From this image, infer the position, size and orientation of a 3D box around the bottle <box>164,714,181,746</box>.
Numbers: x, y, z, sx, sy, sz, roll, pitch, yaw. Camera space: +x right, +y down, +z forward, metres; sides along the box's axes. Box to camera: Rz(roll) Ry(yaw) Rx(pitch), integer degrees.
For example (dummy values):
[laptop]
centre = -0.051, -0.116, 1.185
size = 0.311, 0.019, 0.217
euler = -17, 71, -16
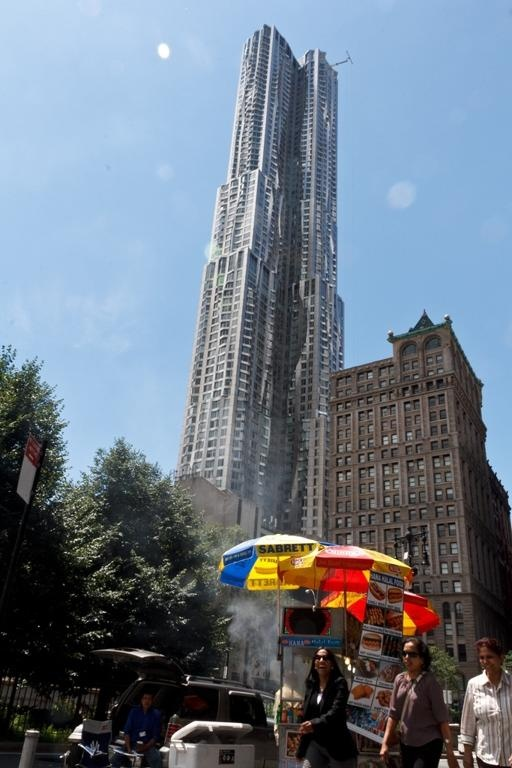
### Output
[bottle]
centre = -1.107, 4.654, 8.287
size = 0.173, 0.137, 0.576
euler = -4, 14, -6

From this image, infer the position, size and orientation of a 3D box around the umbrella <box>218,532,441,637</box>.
[umbrella]
centre = 1.069, 3.774, 11.268
size = 3.602, 1.581, 4.246
euler = -7, -32, 22
